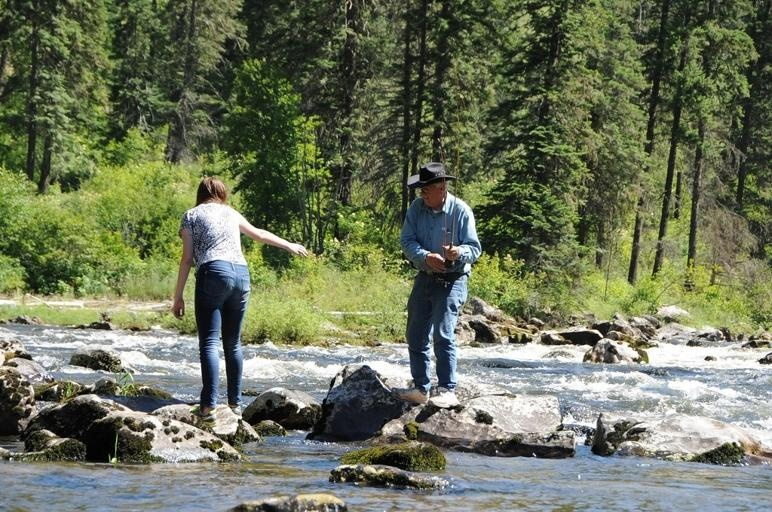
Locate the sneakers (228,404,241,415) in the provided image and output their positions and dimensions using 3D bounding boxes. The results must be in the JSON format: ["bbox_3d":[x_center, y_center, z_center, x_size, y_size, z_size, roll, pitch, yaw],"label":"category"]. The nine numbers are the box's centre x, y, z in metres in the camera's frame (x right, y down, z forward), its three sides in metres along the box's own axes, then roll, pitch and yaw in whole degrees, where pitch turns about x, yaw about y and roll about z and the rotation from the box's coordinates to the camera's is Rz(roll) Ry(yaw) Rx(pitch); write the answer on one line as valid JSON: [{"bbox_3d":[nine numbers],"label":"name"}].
[{"bbox_3d":[-4.059,4.102,28.415,0.264,0.294,0.302,-2,-5,-2],"label":"sneakers"}]

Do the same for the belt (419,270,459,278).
[{"bbox_3d":[1.450,0.554,28.503,1.067,0.252,0.239,2,-2,-3],"label":"belt"}]
